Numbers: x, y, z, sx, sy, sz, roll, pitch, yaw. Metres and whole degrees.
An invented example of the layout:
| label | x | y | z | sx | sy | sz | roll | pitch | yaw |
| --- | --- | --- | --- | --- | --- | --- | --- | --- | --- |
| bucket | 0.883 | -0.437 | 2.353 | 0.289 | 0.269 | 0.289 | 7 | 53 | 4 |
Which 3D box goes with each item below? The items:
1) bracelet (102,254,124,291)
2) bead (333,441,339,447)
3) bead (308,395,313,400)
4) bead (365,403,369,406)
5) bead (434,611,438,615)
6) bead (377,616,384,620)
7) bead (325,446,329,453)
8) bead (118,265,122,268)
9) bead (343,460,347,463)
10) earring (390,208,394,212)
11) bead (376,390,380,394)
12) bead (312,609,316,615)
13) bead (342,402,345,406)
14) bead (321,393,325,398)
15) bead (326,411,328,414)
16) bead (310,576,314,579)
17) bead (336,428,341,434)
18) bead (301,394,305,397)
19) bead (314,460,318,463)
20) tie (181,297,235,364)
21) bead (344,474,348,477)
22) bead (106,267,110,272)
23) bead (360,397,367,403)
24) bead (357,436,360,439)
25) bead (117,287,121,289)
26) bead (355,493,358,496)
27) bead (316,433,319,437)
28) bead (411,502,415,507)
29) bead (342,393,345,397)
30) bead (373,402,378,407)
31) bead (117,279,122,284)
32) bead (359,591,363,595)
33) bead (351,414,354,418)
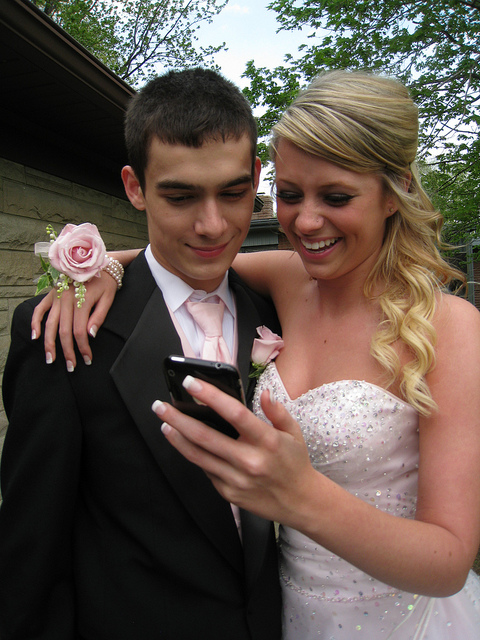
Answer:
| label | x | y | z | sx | sy | sz | roll | pitch | yaw |
| --- | --- | --- | --- | --- | --- | --- | --- | --- | --- |
| bracelet | -0.500 | -0.188 | 2.085 | 0.114 | 0.130 | 0.054 | -14 | -6 | 33 |
| bead | 0.363 | 0.471 | 1.963 | 0.016 | 0.019 | 0.007 | -2 | -4 | 21 |
| bead | 0.279 | 0.309 | 2.058 | 0.019 | 0.018 | 0.010 | 4 | 16 | 19 |
| bead | 0.474 | 0.319 | 1.949 | 0.009 | 0.008 | 0.006 | 1 | 15 | 9 |
| bead | 0.749 | 1.124 | 1.986 | 0.012 | 0.009 | 0.007 | 3 | 15 | 14 |
| bead | 0.529 | 1.124 | 1.954 | 0.025 | 0.011 | 0.012 | 4 | 4 | -5 |
| bead | 0.333 | 0.496 | 1.985 | 0.021 | 0.024 | 0.008 | -1 | -7 | 25 |
| bead | -0.491 | -0.218 | 2.123 | 0.006 | 0.012 | 0.026 | 9 | 14 | 20 |
| bead | 0.396 | 0.534 | 1.957 | 0.019 | 0.010 | 0.004 | -3 | -4 | 12 |
| earring | 0.613 | -0.446 | 2.099 | 0.014 | 0.012 | 0.003 | 5 | 7 | -30 |
| bead | 0.521 | 0.273 | 1.958 | 0.009 | 0.012 | 0.009 | 3 | 15 | 15 |
| bead | 0.284 | 1.124 | 1.992 | 0.022 | 0.012 | 0.005 | 9 | 1 | 35 |
| bead | 0.393 | 0.321 | 1.974 | 0.008 | 0.009 | 0.004 | -8 | -28 | 39 |
| bead | 0.324 | 0.297 | 2.033 | 0.009 | 0.016 | 0.015 | -7 | 16 | -23 |
| bead | 0.333 | 0.356 | 1.988 | 0.005 | 0.009 | 0.009 | -2 | 14 | -3 |
| bead | 0.280 | 1.000 | 2.012 | 0.009 | 0.010 | 0.003 | -3 | -4 | 12 |
| bead | 0.371 | 0.422 | 1.957 | 0.013 | 0.015 | 0.006 | -1 | -12 | 20 |
| bead | 0.255 | 0.305 | 2.095 | 0.009 | 0.008 | 0.009 | -2 | 10 | 30 |
| bead | 0.295 | 0.551 | 2.019 | 0.007 | 0.010 | 0.012 | -3 | 10 | -15 |
| tie | -0.110 | 0.061 | 2.221 | 0.255 | 0.380 | 0.052 | 6 | 32 | 33 |
| bead | 0.405 | 0.597 | 1.985 | 0.012 | 0.010 | 0.014 | -1 | -7 | -14 |
| bead | -0.524 | -0.198 | 2.061 | 0.009 | 0.012 | 0.012 | -4 | 30 | 26 |
| bead | 0.465 | 0.304 | 1.956 | 0.025 | 0.017 | 0.011 | 1 | 15 | 7 |
| bead | 0.442 | 0.441 | 1.938 | 0.007 | 0.010 | 0.003 | 0 | 15 | 4 |
| bead | -0.475 | -0.124 | 2.038 | 0.009 | 0.008 | 0.009 | -17 | -1 | -6 |
| bead | 0.450 | 0.675 | 2.004 | 0.007 | 0.008 | 0.010 | -7 | 15 | -22 |
| bead | 0.299 | 0.443 | 2.001 | 0.015 | 0.017 | 0.006 | -1 | -4 | 21 |
| bead | 0.676 | 0.723 | 2.025 | 0.014 | 0.016 | 0.008 | -9 | 17 | -28 |
| bead | 0.397 | 0.290 | 1.990 | 0.007 | 0.011 | 0.013 | 1 | 14 | 9 |
| bead | 0.506 | 0.319 | 1.942 | 0.016 | 0.014 | 0.010 | 1 | 15 | 9 |
| bead | -0.477 | -0.152 | 2.056 | 0.015 | 0.016 | 0.026 | 2 | -2 | 31 |
| bead | 0.458 | 1.036 | 1.966 | 0.011 | 0.011 | 0.006 | 1 | 15 | 7 |
| bead | 0.422 | 0.363 | 1.946 | 0.010 | 0.004 | 0.012 | -2 | 38 | 11 |
